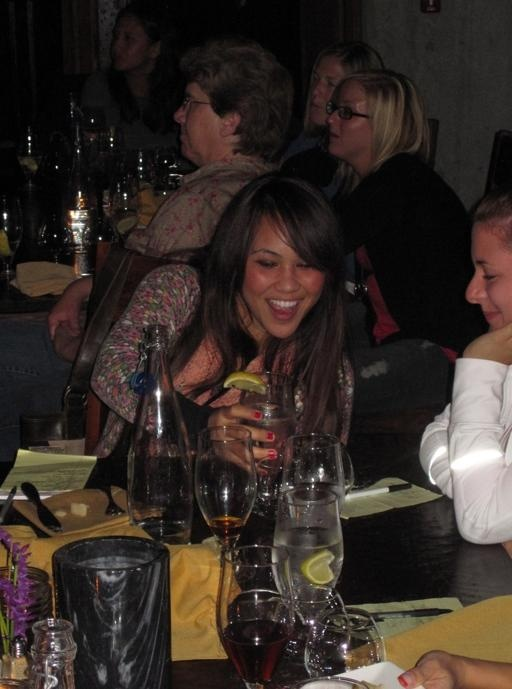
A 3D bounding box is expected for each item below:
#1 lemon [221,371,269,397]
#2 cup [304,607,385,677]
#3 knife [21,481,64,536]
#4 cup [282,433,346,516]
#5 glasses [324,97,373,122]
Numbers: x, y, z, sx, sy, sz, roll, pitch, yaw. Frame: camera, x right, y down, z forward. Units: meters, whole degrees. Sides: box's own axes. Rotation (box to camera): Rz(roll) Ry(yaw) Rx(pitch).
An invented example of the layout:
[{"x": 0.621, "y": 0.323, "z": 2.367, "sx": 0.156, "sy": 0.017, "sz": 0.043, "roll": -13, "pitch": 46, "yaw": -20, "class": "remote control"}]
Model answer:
[{"x": -0.017, "y": 0.070, "z": 1.246, "sx": 0.087, "sy": 0.037, "sz": 0.023, "roll": 11, "pitch": 5, "yaw": 33, "class": "lemon"}, {"x": 0.088, "y": 0.291, "z": 0.683, "sx": 0.067, "sy": 0.060, "sz": 0.068, "roll": 0, "pitch": -3, "yaw": 0, "class": "cup"}, {"x": -0.328, "y": 0.228, "z": 1.050, "sx": 0.038, "sy": 0.012, "sz": 0.240, "roll": -4, "pitch": 12, "yaw": -20, "class": "knife"}, {"x": 0.088, "y": 0.192, "z": 0.997, "sx": 0.114, "sy": 0.095, "sz": 0.107, "roll": 0, "pitch": -2, "yaw": 0, "class": "cup"}, {"x": 0.463, "y": -1.183, "z": 3.500, "sx": 0.178, "sy": 0.046, "sz": 0.159, "roll": 2, "pitch": 14, "yaw": -28, "class": "glasses"}]
